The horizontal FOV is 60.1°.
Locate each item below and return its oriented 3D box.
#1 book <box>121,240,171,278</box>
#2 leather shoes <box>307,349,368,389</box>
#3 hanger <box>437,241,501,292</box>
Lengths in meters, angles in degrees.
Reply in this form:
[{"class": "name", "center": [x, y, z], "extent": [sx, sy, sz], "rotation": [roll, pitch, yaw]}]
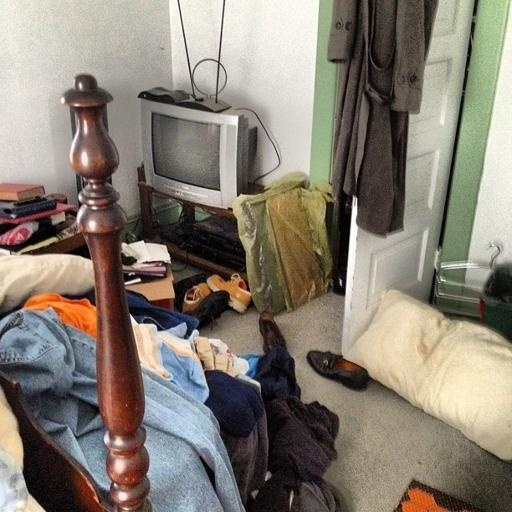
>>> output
[{"class": "book", "center": [-0.618, 0.020, 2.489], "extent": [0.205, 0.057, 0.222], "rotation": [2, 39, -9]}, {"class": "leather shoes", "center": [0.411, 0.566, 2.254], "extent": [0.254, 0.082, 0.134], "rotation": [22, 52, 25]}, {"class": "hanger", "center": [1.277, 0.052, 2.630], "extent": [0.288, 0.325, 0.068], "rotation": [9, 41, 18]}]
